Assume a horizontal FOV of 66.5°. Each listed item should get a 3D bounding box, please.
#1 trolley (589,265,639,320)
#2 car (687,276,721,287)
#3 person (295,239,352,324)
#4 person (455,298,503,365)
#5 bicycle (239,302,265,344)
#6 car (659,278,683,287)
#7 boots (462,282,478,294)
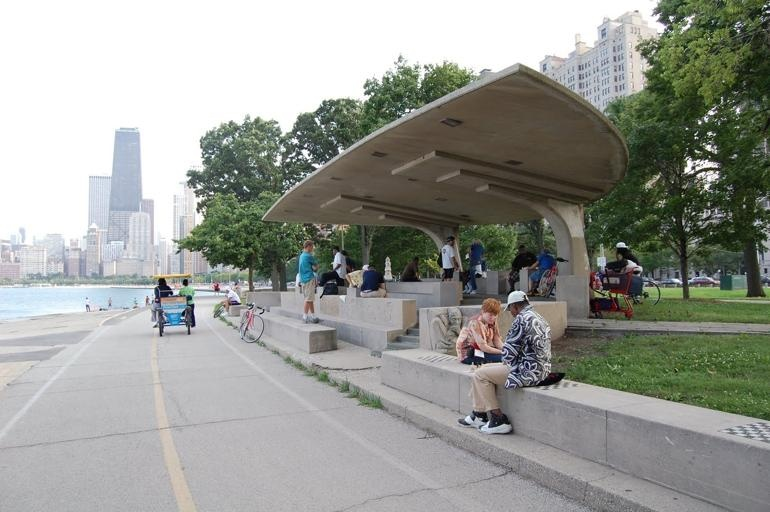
[{"bbox_3d":[7.155,1.207,18.745,1.385,1.445,1.003,1,-2,18],"label":"trolley"},{"bbox_3d":[41.386,3.342,76.368,3.496,1.260,1.524,-3,-4,22],"label":"car"},{"bbox_3d":[-2.471,0.823,20.153,1.384,3.290,1.185,1,-1,-34],"label":"person"},{"bbox_3d":[2.066,1.585,12.087,1.095,1.303,0.845,3,2,24],"label":"person"},{"bbox_3d":[-5.032,2.510,22.207,0.926,1.257,2.004,-7,12,-18],"label":"bicycle"},{"bbox_3d":[40.529,3.737,83.502,1.430,1.091,3.198,2,5,17],"label":"car"},{"bbox_3d":[3.844,1.521,26.798,0.230,0.437,0.701,1,-8,-17],"label":"boots"}]
